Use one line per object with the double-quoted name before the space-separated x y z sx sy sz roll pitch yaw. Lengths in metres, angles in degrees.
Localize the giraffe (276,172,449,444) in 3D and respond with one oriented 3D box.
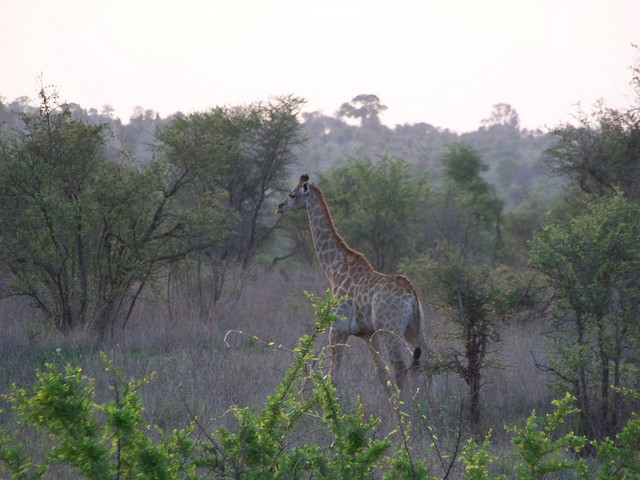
"giraffe" 1.001 1.320 20.886 3.277 5.721 3.976 2 -17 -2
